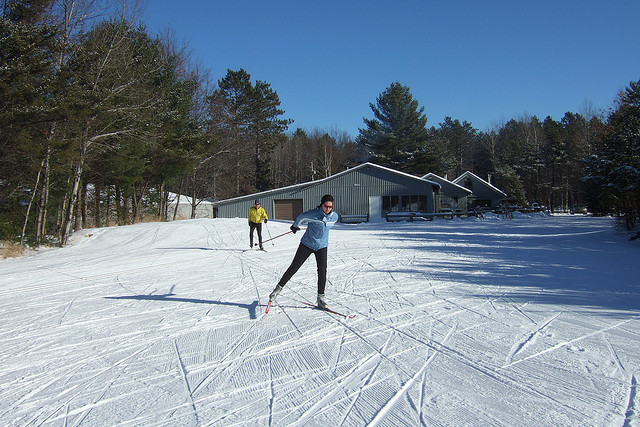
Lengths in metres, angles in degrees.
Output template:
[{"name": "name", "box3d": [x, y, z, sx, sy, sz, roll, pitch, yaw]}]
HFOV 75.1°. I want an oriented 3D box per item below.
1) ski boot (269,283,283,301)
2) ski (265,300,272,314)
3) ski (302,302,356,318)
[{"name": "ski boot", "box3d": [-0.916, 1.604, 8.611, 0.197, 0.325, 0.085, 31, 3, -22]}, {"name": "ski", "box3d": [-1.036, 1.880, 8.452, 0.046, 0.300, 0.043, 16, -31, 38]}, {"name": "ski", "box3d": [0.247, 1.930, 8.335, 0.901, 0.107, 0.120, 21, 8, 33]}]
